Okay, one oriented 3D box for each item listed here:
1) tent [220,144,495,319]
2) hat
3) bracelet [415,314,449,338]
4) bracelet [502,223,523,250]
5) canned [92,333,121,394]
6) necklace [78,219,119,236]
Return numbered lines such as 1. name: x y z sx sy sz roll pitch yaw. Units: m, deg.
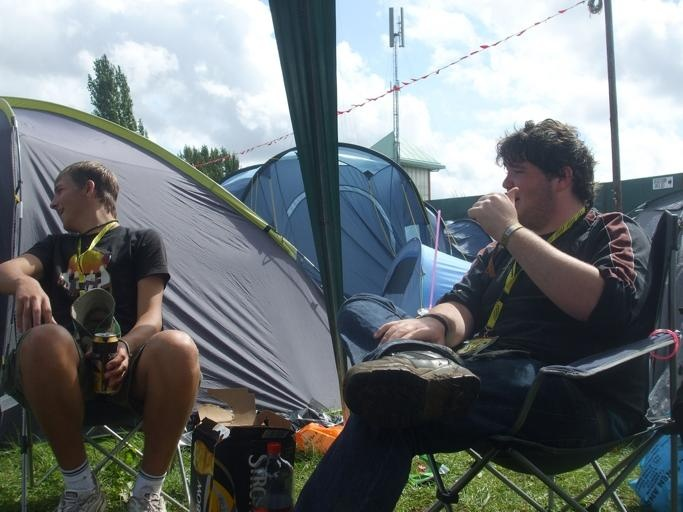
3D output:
1. tent: 0.062 -0.165 4.552 1.936 0.980 2.062 0 1 9
2. hat: -0.956 0.229 2.184 0.178 0.263 0.172 3 7 -21
3. bracelet: 0.349 0.254 2.092 0.086 0.093 0.072 -9 -38 0
4. bracelet: 0.591 -0.066 1.938 0.055 0.038 0.059 -31 -24 -14
5. canned: -0.877 0.395 2.095 0.082 0.226 0.087 3 -6 -28
6. necklace: -1.101 -0.125 2.553 0.110 0.028 0.087 -31 -2 6
